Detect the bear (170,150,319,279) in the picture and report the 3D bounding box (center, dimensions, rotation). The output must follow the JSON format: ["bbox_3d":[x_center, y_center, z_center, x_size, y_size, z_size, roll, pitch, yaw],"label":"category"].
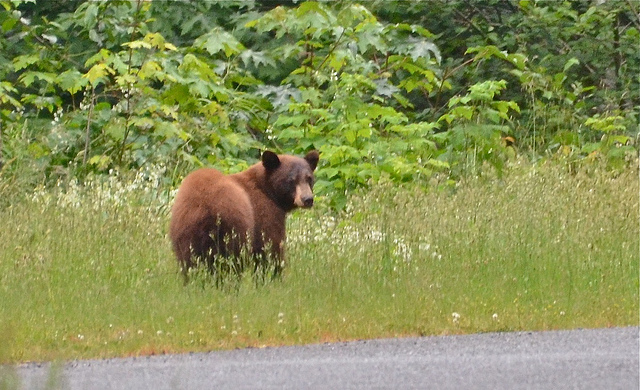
[{"bbox_3d":[-1.259,0.415,12.756,1.366,1.977,2.960,5,8,34],"label":"bear"}]
